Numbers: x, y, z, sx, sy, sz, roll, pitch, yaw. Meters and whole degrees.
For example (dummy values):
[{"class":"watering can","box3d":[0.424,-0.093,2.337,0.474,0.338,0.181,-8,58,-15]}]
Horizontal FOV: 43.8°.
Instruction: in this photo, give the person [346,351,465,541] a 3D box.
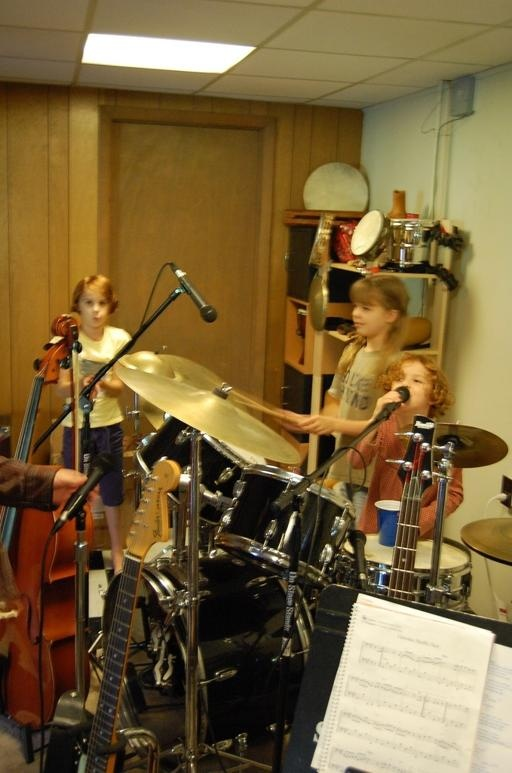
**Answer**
[{"class":"person","box3d":[0.528,0.278,2.258,0.363,0.881,0.288,13,32,18]}]

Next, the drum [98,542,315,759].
[{"class":"drum","box3d":[-0.033,0.789,1.919,0.351,0.482,0.448,-5,-7,-9]}]

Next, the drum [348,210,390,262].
[{"class":"drum","box3d":[0.506,-0.680,2.892,0.117,0.224,0.335,3,7,-9]}]

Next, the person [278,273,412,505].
[{"class":"person","box3d":[0.362,0.206,2.661,0.480,1.311,0.425,-1,17,-13]}]

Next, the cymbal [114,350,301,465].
[{"class":"cymbal","box3d":[-0.196,0.075,2.373,0.513,0.121,0.513,29,11,-34]}]

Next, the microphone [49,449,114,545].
[{"class":"microphone","box3d":[-0.334,0.206,1.233,0.053,0.074,0.208,-3,32,38]}]

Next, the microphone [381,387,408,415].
[{"class":"microphone","box3d":[0.371,0.039,1.697,0.034,0.037,0.136,18,30,18]}]

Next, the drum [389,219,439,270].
[{"class":"drum","box3d":[0.659,-0.644,2.880,0.240,0.252,0.235,-5,15,-10]}]
